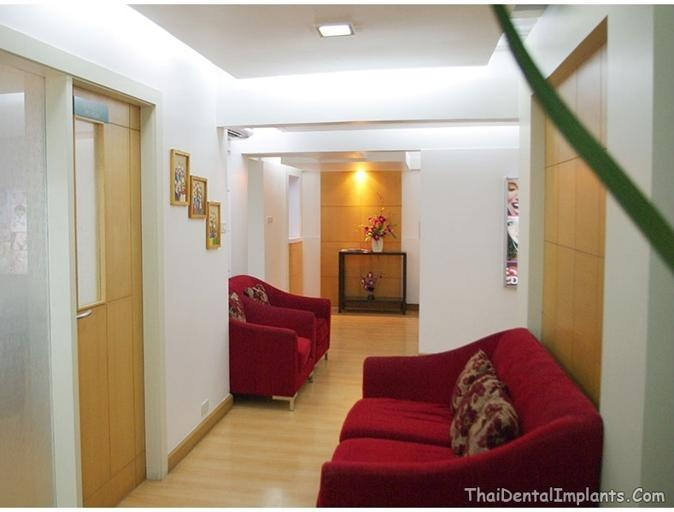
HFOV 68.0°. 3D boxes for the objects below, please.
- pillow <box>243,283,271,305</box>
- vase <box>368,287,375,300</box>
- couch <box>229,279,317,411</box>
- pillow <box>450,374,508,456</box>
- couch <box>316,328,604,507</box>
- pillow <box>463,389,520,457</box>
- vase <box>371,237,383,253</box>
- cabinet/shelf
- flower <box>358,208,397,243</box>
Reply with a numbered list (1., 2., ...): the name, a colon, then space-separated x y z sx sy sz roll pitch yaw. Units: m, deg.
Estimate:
1. pillow: -0.846 0.366 5.096 0.057 0.199 0.196 -30 -23 25
2. vase: 0.554 0.603 8.357 0.160 0.203 0.167 1 -5 -3
3. couch: -0.541 0.755 4.560 0.781 0.935 1.084 0 2 7
4. pillow: 0.658 0.728 2.297 0.101 0.185 0.332 20 9 8
5. couch: 0.498 0.731 2.440 1.019 0.584 1.464 1 5 7
6. pillow: 0.652 0.605 2.101 0.184 0.146 0.393 5 5 20
7. vase: 0.658 -0.187 8.194 0.200 0.234 0.209 2 2 6
8. cabinet/shelf: 0.615 0.415 8.393 0.961 0.912 0.359 0 -2 8
9. flower: 0.689 -0.522 8.243 0.494 0.361 0.505 -3 10 -13
